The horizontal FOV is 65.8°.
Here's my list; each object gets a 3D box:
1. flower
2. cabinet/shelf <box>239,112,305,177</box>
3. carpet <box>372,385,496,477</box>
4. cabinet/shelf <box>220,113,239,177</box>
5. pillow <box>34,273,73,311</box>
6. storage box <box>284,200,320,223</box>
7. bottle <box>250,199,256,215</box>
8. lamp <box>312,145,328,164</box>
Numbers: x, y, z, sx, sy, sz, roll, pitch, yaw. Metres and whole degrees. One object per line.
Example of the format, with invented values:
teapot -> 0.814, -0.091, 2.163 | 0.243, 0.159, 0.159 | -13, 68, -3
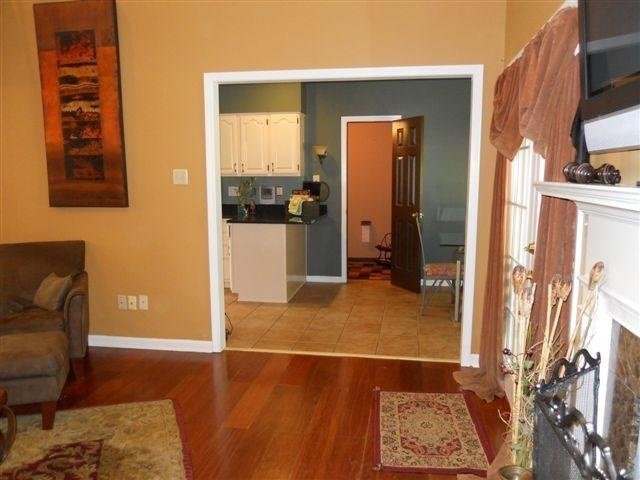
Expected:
flower -> 1.078, 0.620, 2.400 | 0.317, 0.984, 0.358 | -6, 23, -23
cabinet/shelf -> -0.672, -1.344, 6.843 | 0.770, 0.785, 0.337 | 0, 4, 8
carpet -> 0.758, 1.297, 3.433 | 0.758, 0.070, 0.916 | 1, 11, 5
cabinet/shelf -> -1.256, -1.329, 6.916 | 0.271, 0.815, 0.104 | 0, 11, 0
pillow -> -2.324, 0.441, 4.310 | 0.302, 0.263, 0.404 | -9, 14, -40
storage box -> -0.234, -0.394, 6.572 | 0.329, 0.246, 0.343 | 0, 0, 9
bottle -> -0.973, -0.476, 7.178 | 0.089, 0.207, 0.109 | 8, 13, 36
lamp -> 0.006, -1.214, 7.036 | 0.202, 0.217, 0.213 | -1, 2, 3
